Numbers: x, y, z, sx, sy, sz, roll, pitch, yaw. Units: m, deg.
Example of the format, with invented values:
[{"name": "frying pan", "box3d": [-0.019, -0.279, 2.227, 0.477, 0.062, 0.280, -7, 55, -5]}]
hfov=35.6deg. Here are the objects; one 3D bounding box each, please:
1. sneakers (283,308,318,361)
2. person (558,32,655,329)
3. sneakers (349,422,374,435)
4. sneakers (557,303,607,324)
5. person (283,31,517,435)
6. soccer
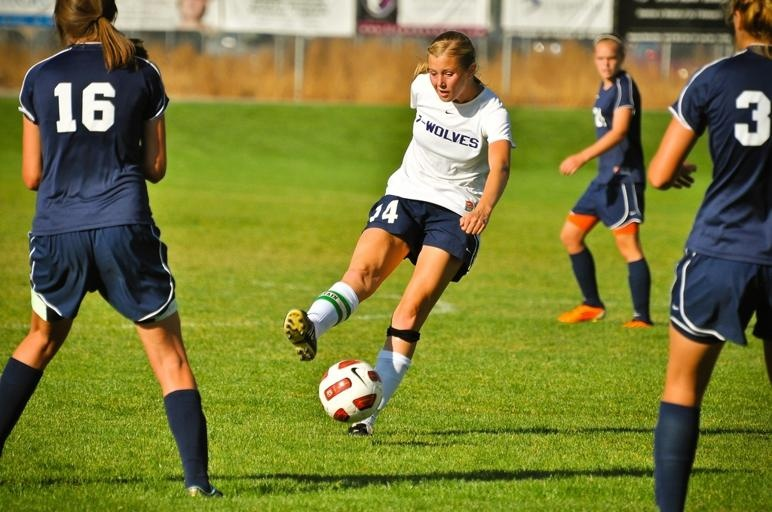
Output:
[{"name": "sneakers", "box3d": [-0.580, 0.536, 8.089, 0.182, 0.384, 0.207, 5, 14, 18]}, {"name": "person", "box3d": [2.085, -0.703, 11.228, 0.860, 2.659, 0.838, 3, 13, 8]}, {"name": "sneakers", "box3d": [-0.183, 1.232, 8.527, 0.196, 0.083, 0.067, -1, 8, -8]}, {"name": "sneakers", "box3d": [1.833, 0.552, 11.392, 0.468, 0.189, 0.170, 0, 7, -5]}, {"name": "person", "box3d": [0.192, -0.149, 8.512, 1.574, 2.813, 1.000, -2, 13, -12]}, {"name": "soccer", "box3d": [-0.233, 0.938, 8.180, 0.425, 0.418, 0.229, 0, 13, -1]}]
